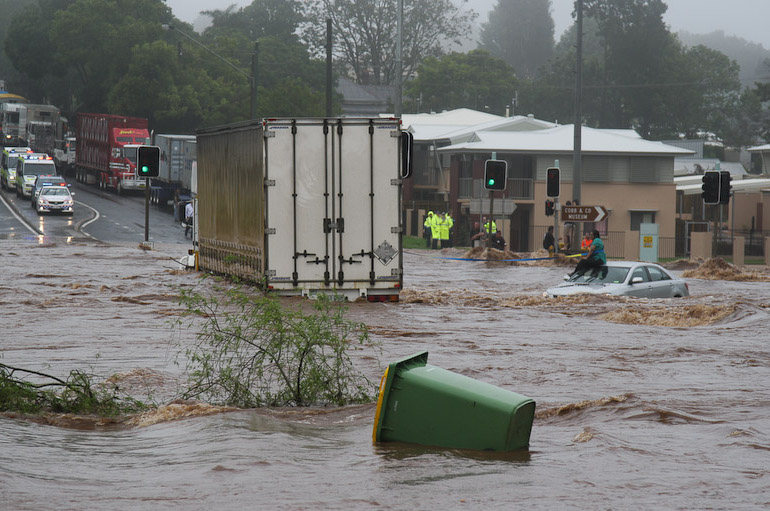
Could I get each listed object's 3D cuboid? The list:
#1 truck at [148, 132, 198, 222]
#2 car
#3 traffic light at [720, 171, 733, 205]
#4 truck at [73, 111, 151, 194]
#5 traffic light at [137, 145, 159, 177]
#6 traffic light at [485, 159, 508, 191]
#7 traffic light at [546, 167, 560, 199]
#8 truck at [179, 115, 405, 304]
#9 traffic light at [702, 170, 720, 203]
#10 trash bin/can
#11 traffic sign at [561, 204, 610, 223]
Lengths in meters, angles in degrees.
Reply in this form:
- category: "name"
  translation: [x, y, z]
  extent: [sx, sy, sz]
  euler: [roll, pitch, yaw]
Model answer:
- category: "truck"
  translation: [-13.970, -5.931, 109.026]
  extent: [2.288, 3.887, 7.838]
  euler: [-4, 11, -23]
- category: "car"
  translation: [9.757, 1.547, 71.186]
  extent: [3.400, 2.672, 8.064]
  euler: [3, 3, 40]
- category: "traffic light"
  translation: [15.887, -3.201, 78.931]
  extent: [0.425, 1.452, 0.872]
  euler: [2, 3, 15]
- category: "truck"
  translation: [-18.060, -7.069, 113.471]
  extent: [2.661, 4.861, 11.253]
  euler: [-2, 7, -26]
- category: "traffic light"
  translation: [-11.311, -4.511, 81.091]
  extent: [1.361, 2.013, 1.038]
  euler: [0, 5, -8]
- category: "traffic light"
  translation: [5.222, -3.742, 79.147]
  extent: [0.891, 1.391, 1.535]
  euler: [2, 3, 10]
- category: "traffic light"
  translation: [8.149, -3.554, 81.701]
  extent: [0.545, 1.316, 0.473]
  euler: [2, 3, 17]
- category: "truck"
  translation: [-3.760, -2.281, 71.165]
  extent: [4.092, 5.163, 11.168]
  euler: [0, 3, -12]
- category: "traffic light"
  translation: [15.243, -3.202, 78.929]
  extent: [0.774, 1.458, 0.797]
  euler: [2, 3, 11]
- category: "trash bin/can"
  translation: [2.214, 5.571, 58.231]
  extent: [4.483, 2.878, 3.043]
  euler: [16, 4, 7]
- category: "traffic sign"
  translation: [9.647, -2.024, 81.928]
  extent: [2.136, 0.790, 1.236]
  euler: [1, 3, 6]
